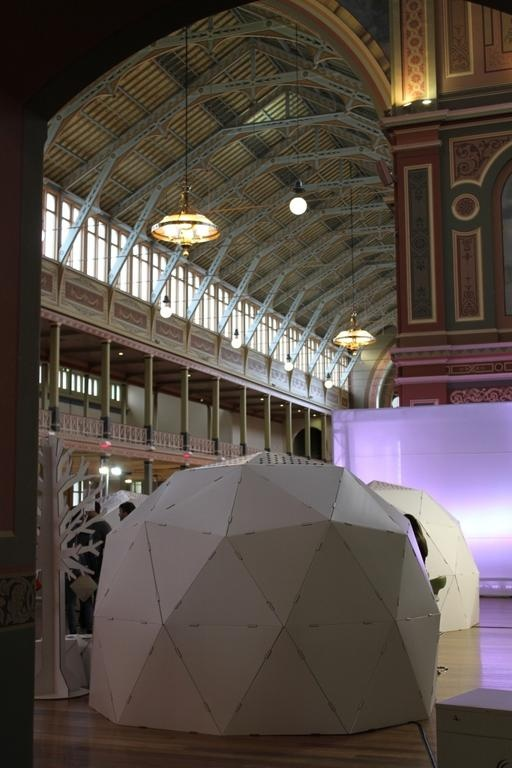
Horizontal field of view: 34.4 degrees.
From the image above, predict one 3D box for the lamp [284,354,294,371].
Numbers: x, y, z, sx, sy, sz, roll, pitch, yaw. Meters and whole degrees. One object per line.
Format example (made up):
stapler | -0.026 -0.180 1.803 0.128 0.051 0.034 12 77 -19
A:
lamp | 1.150 -0.695 28.715 0.442 0.468 0.447 9 -53 -8
